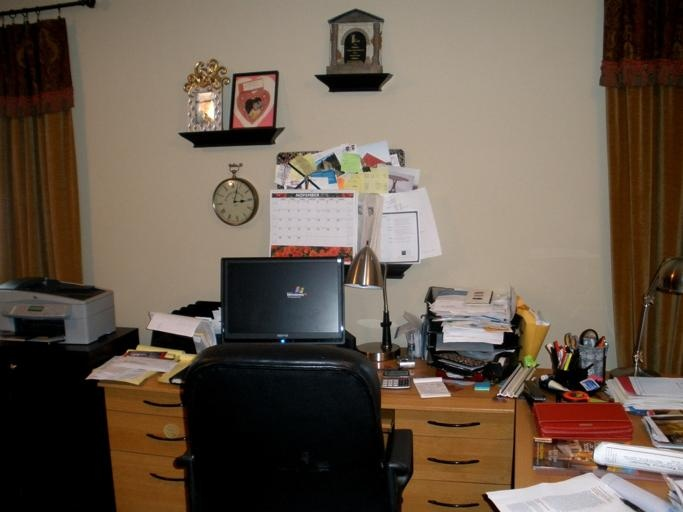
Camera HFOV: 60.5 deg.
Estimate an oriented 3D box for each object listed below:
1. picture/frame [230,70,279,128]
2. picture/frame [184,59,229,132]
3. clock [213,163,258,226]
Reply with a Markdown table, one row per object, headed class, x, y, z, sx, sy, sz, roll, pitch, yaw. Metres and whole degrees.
| class | x | y | z | sx | sy | sz | roll | pitch | yaw |
| --- | --- | --- | --- | --- | --- | --- | --- | --- | --- |
| picture/frame | -0.488 | -0.889 | 3.334 | 0.344 | 0.393 | 0.027 | 0 | -8 | 13 |
| picture/frame | -0.779 | -0.930 | 3.385 | 0.271 | 0.416 | 0.138 | 1 | 5 | -2 |
| clock | -0.614 | -0.357 | 3.414 | 0.265 | 0.369 | 0.082 | 3 | 6 | 19 |
